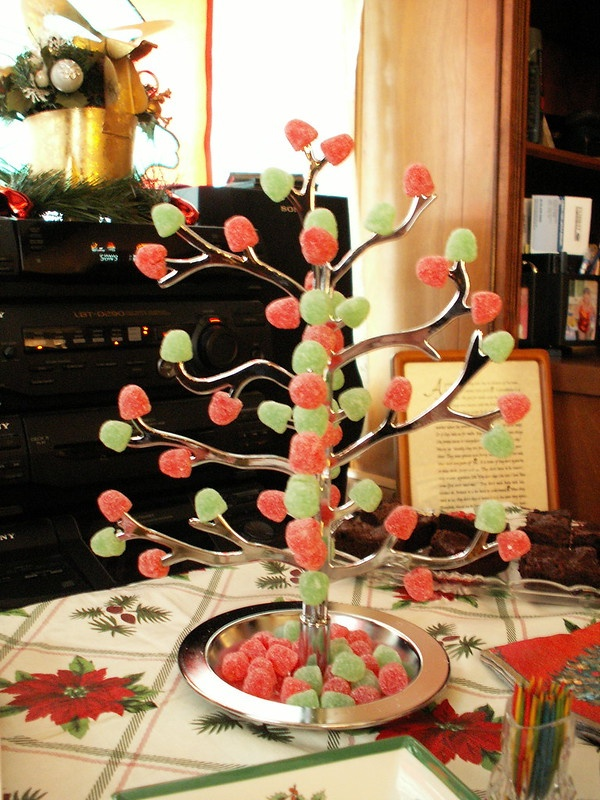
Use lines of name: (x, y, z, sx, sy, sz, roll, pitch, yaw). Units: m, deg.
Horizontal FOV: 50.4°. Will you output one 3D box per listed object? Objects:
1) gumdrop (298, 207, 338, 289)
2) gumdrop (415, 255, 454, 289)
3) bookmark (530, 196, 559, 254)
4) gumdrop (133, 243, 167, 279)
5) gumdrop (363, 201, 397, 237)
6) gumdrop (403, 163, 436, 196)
gumdrop: (0.004, -0.095, 0.413, 0.029, 0.052, 0.026, -4, -6, -12)
gumdrop: (0.094, -0.087, 0.453, 0.024, 0.024, 0.015, -13, -12, -9)
bookmark: (0.530, -0.374, 1.377, 0.072, 0.121, 0.055, -1, 4, 3)
gumdrop: (-0.102, -0.095, 0.439, 0.019, 0.027, 0.062, -2, 3, -12)
gumdrop: (0.057, -0.127, 0.447, 0.022, 0.021, 0.007, 34, 11, -4)
gumdrop: (0.079, -0.145, 0.425, 0.024, 0.021, 0.011, 0, 3, 26)
